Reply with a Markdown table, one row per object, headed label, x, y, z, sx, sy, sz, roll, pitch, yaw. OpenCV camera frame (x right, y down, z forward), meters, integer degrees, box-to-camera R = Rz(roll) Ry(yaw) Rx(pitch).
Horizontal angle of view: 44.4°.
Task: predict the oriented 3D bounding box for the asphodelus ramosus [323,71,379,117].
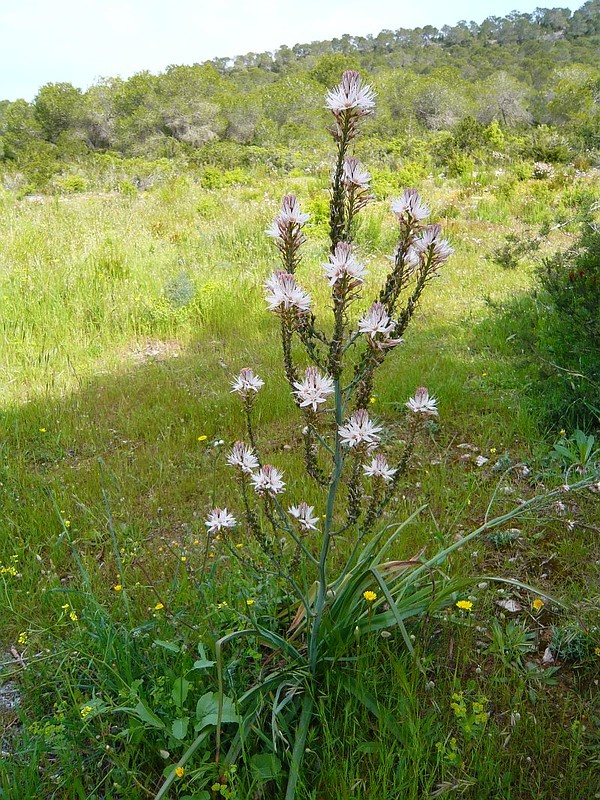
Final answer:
| label | x | y | z | sx | sy | sz | roll | pitch | yaw |
| --- | --- | --- | --- | --- | --- | --- | --- | --- | --- |
| asphodelus ramosus | 0.121 | -0.769 | 1.862 | 0.112 | 0.129 | 0.114 | -8 | 25 | -17 |

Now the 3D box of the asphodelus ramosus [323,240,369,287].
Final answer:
| label | x | y | z | sx | sy | sz | roll | pitch | yaw |
| --- | --- | --- | --- | --- | --- | --- | --- | --- | --- |
| asphodelus ramosus | 0.121 | -0.348 | 1.954 | 0.107 | 0.117 | 0.114 | 5 | 29 | 9 |

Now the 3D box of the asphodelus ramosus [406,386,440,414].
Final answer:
| label | x | y | z | sx | sy | sz | roll | pitch | yaw |
| --- | --- | --- | --- | --- | --- | --- | --- | --- | --- |
| asphodelus ramosus | 0.510 | 0.002 | 3.026 | 0.134 | 0.103 | 0.138 | 4 | 15 | 10 |

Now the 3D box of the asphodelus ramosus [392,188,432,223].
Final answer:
| label | x | y | z | sx | sy | sz | roll | pitch | yaw |
| --- | --- | --- | --- | --- | --- | --- | --- | --- | --- |
| asphodelus ramosus | 0.300 | -0.526 | 2.015 | 0.095 | 0.106 | 0.096 | 0 | 29 | -3 |

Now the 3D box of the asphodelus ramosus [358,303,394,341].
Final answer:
| label | x | y | z | sx | sy | sz | roll | pitch | yaw |
| --- | --- | --- | --- | --- | --- | --- | --- | --- | --- |
| asphodelus ramosus | 0.198 | -0.200 | 1.948 | 0.074 | 0.100 | 0.038 | -3 | -5 | -4 |

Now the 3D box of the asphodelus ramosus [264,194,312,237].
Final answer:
| label | x | y | z | sx | sy | sz | roll | pitch | yaw |
| --- | --- | --- | --- | --- | --- | --- | --- | --- | --- |
| asphodelus ramosus | -0.025 | -0.495 | 2.005 | 0.121 | 0.128 | 0.116 | -6 | 22 | -18 |

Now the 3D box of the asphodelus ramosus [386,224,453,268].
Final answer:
| label | x | y | z | sx | sy | sz | roll | pitch | yaw |
| --- | --- | --- | --- | --- | --- | --- | --- | --- | --- |
| asphodelus ramosus | 0.373 | -0.434 | 2.072 | 0.156 | 0.120 | 0.090 | -16 | 22 | -41 |

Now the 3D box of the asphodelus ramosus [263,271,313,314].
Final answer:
| label | x | y | z | sx | sy | sz | roll | pitch | yaw |
| --- | --- | --- | --- | --- | --- | --- | --- | --- | --- |
| asphodelus ramosus | -0.018 | -0.291 | 2.028 | 0.118 | 0.117 | 0.121 | 6 | 36 | 20 |

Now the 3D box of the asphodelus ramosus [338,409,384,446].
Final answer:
| label | x | y | z | sx | sy | sz | roll | pitch | yaw |
| --- | --- | --- | --- | --- | --- | --- | --- | --- | --- |
| asphodelus ramosus | 0.176 | 0.076 | 2.164 | 0.109 | 0.117 | 0.113 | -2 | 25 | 2 |
